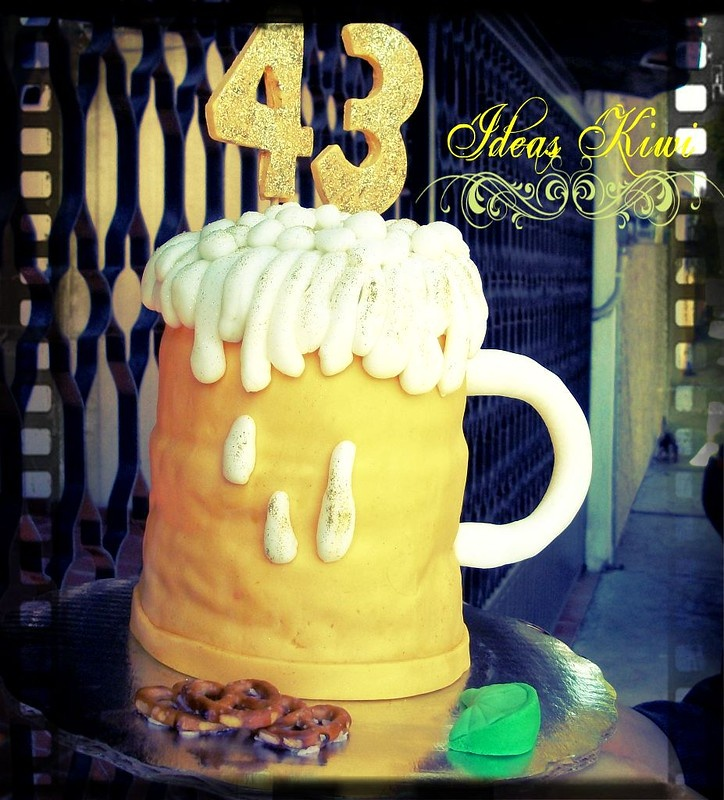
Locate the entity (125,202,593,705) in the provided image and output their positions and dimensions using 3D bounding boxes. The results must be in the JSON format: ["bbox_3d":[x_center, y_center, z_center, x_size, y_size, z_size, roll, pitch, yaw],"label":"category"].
[{"bbox_3d":[-0.003,0.074,1.617,0.598,0.605,0.509,6,2,10],"label":"entity"}]

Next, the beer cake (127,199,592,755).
[{"bbox_3d":[0.010,0.077,1.628,0.663,0.620,0.469,5,7,-6],"label":"beer cake"}]
